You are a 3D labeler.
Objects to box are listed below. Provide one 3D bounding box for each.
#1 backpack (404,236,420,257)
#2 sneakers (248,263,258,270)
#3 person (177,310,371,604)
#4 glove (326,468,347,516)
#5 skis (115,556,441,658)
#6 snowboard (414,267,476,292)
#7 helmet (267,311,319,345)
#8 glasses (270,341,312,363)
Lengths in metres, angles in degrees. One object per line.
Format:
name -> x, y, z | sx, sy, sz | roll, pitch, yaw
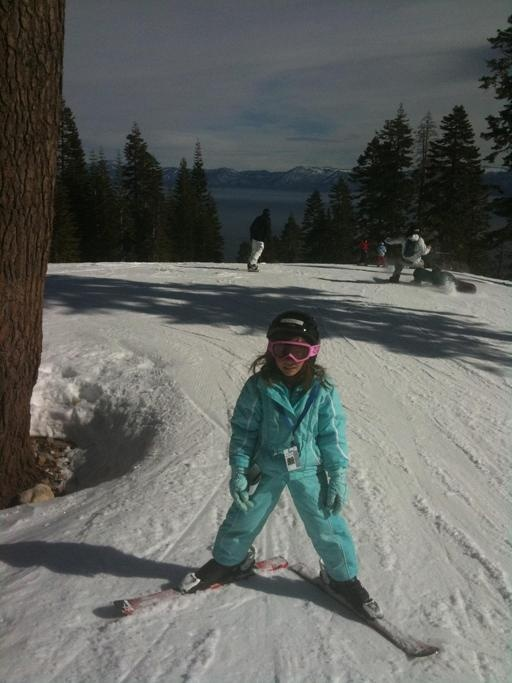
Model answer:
backpack -> 4.073, -2.482, 14.461 | 0.391, 0.528, 0.553 | 4, 2, 22
sneakers -> -0.096, -2.080, 15.510 | 0.255, 0.225, 0.150 | -1, 9, -5
person -> 0.167, 0.633, 2.937 | 0.989, 1.598, 0.395 | 6, 13, 5
glove -> 0.401, 0.763, 2.781 | 0.153, 0.191, 0.068 | 0, -3, 9
skis -> 0.082, 1.428, 2.928 | 1.887, 0.248, 0.196 | 7, 12, -4
snowboard -> 4.720, -1.557, 13.831 | 0.639, 0.501, 1.588 | -1, 13, -26
helmet -> 0.196, -0.076, 2.835 | 0.263, 0.167, 0.166 | 5, 13, 3
glasses -> 0.167, 0.043, 2.827 | 0.224, 0.106, 0.129 | 7, 13, 9
